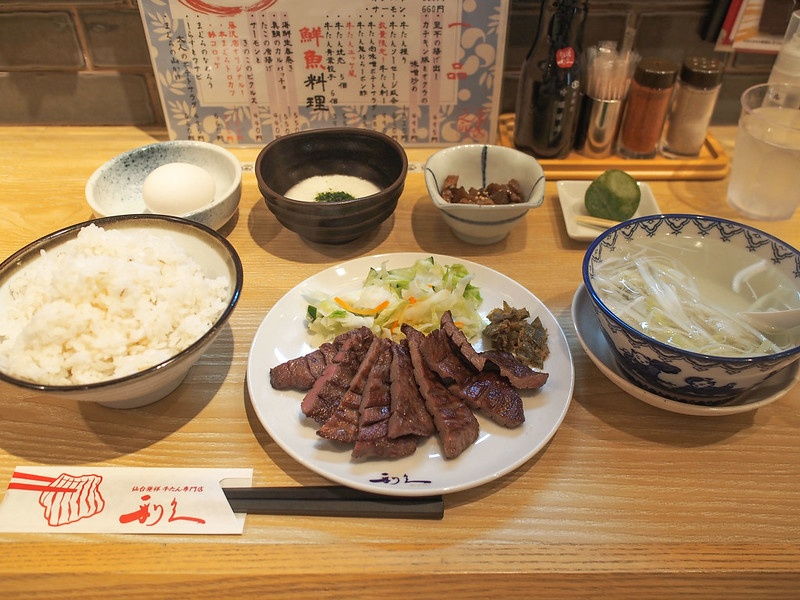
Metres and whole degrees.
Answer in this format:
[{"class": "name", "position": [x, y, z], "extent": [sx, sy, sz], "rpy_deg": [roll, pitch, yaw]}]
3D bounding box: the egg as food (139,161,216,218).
[{"class": "egg as food", "position": [-0.748, -0.376, 2.158], "extent": [0.243, 0.151, 0.229], "rpy_deg": [-11, 25, -23]}]

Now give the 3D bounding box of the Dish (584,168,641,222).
[{"class": "Dish", "position": [0.797, -0.358, 2.265], "extent": [0.218, 0.210, 0.129], "rpy_deg": [13, 76, -21]}]

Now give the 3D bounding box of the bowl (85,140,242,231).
[{"class": "bowl", "position": [-0.847, -0.440, 2.348], "extent": [0.503, 0.167, 0.461], "rpy_deg": [3, 43, -3]}]

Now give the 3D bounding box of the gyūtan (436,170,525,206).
[{"class": "gyūtan", "position": [0.284, -0.376, 2.228], "extent": [0.220, 0.068, 0.177], "rpy_deg": [13, 37, 12]}]
